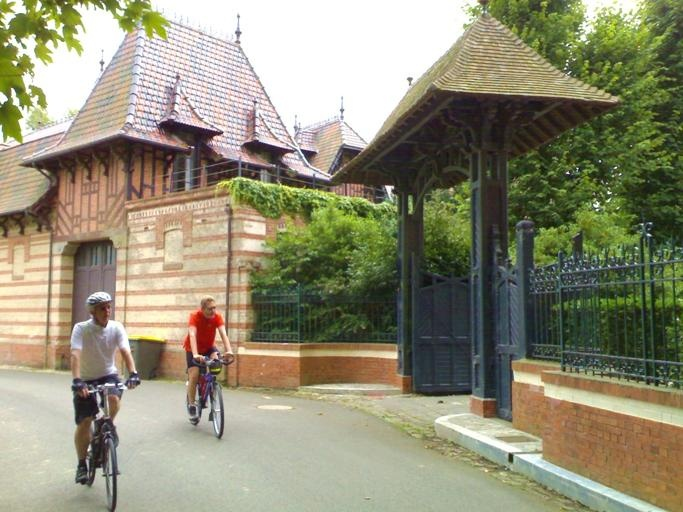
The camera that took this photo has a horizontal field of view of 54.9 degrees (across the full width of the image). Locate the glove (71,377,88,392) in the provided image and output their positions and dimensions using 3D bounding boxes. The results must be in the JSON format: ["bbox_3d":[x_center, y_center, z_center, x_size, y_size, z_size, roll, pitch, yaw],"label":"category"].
[{"bbox_3d":[-3.175,1.541,7.925,0.125,0.194,0.083,-3,-4,-2],"label":"glove"}]

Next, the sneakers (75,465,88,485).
[{"bbox_3d":[-3.274,2.738,8.256,0.100,0.141,0.285,1,-4,-22],"label":"sneakers"}]
